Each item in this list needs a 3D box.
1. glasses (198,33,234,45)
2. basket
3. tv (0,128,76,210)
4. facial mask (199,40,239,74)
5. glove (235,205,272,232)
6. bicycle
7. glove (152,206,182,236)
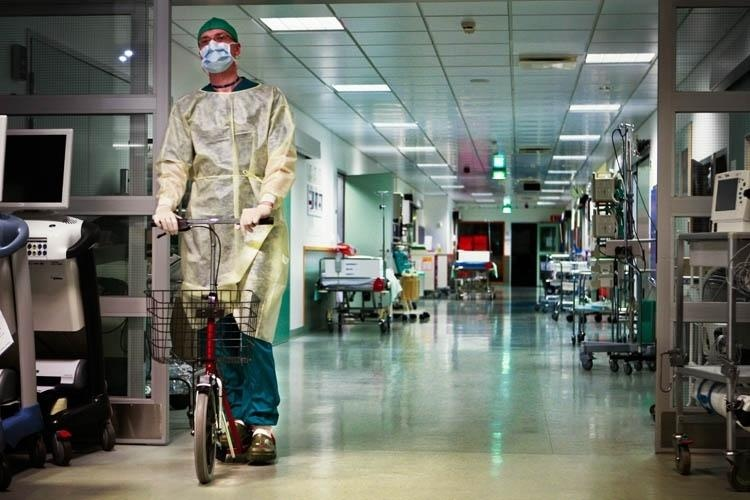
[{"bbox_3d":[-0.961,-1.272,3.931,0.107,0.032,0.106,-4,-5,0],"label":"glasses"},{"bbox_3d":[-1.010,0.406,3.720,0.731,0.395,0.475,-1,-4,7],"label":"basket"},{"bbox_3d":[-2.149,-0.511,4.106,0.533,0.489,0.185,0,-6,8],"label":"tv"},{"bbox_3d":[-0.964,-1.183,4.011,0.185,0.147,0.180,-2,8,7],"label":"facial mask"},{"bbox_3d":[-0.668,-0.190,3.647,0.196,0.180,0.151,2,-7,-17],"label":"glove"},{"bbox_3d":[-0.984,0.571,3.859,0.703,1.545,1.082,2,-7,-18],"label":"bicycle"},{"bbox_3d":[-1.181,-0.176,3.669,0.137,0.178,0.195,3,-7,-24],"label":"glove"}]
